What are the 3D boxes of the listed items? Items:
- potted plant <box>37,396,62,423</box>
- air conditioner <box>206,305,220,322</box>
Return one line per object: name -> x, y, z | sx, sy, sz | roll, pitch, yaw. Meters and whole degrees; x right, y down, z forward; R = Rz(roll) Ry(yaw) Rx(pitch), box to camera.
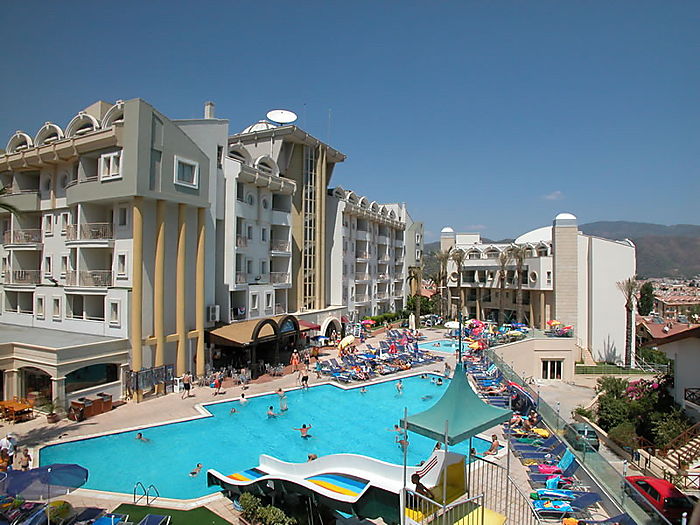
potted plant -> -19.016, 9.156, 34.498 | 0.816, 1.544, 2.916 | 3, -7, -44
air conditioner -> -10.914, 4.037, 43.773 | 1.154, 1.558, 1.088 | 0, 1, 43
